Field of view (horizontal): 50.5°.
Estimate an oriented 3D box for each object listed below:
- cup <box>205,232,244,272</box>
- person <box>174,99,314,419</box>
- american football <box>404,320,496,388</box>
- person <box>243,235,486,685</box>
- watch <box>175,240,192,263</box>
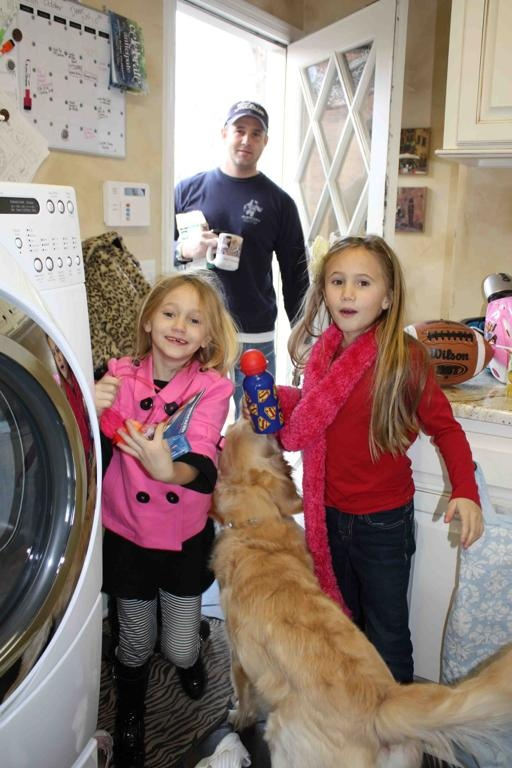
[{"bbox_3d":[-0.134,-0.560,2.321,0.152,0.168,0.156,0,16,0],"label":"cup"},{"bbox_3d":[-0.047,-0.350,2.669,0.652,1.891,0.527,-2,18,-10],"label":"person"},{"bbox_3d":[0.531,-0.073,1.503,0.238,0.153,0.157,5,-2,-5],"label":"american football"},{"bbox_3d":[0.263,0.262,1.340,0.550,1.162,0.282,4,16,28],"label":"person"},{"bbox_3d":[-0.313,-0.565,2.315,0.067,0.096,0.040,3,8,24],"label":"watch"}]
